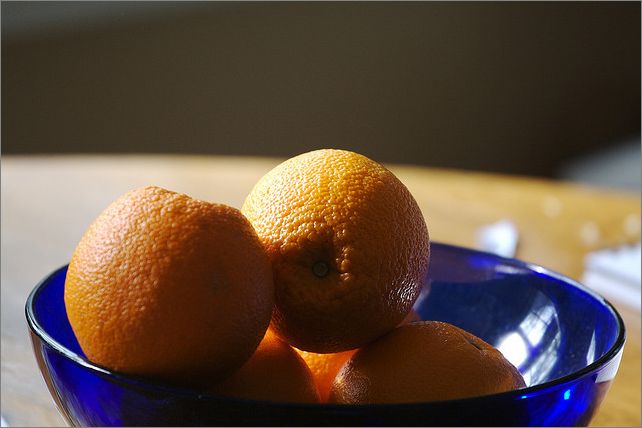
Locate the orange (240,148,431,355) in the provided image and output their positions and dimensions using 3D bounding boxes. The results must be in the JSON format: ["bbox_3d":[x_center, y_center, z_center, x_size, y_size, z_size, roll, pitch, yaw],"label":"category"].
[{"bbox_3d":[-0.004,0.053,0.826,0.201,0.237,0.244,22,34,25],"label":"orange"}]

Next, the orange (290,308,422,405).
[{"bbox_3d":[0.048,0.188,0.768,0.104,0.133,0.108,11,-18,-14],"label":"orange"}]

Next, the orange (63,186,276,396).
[{"bbox_3d":[-0.169,0.079,0.681,0.227,0.206,0.073,8,8,5],"label":"orange"}]
